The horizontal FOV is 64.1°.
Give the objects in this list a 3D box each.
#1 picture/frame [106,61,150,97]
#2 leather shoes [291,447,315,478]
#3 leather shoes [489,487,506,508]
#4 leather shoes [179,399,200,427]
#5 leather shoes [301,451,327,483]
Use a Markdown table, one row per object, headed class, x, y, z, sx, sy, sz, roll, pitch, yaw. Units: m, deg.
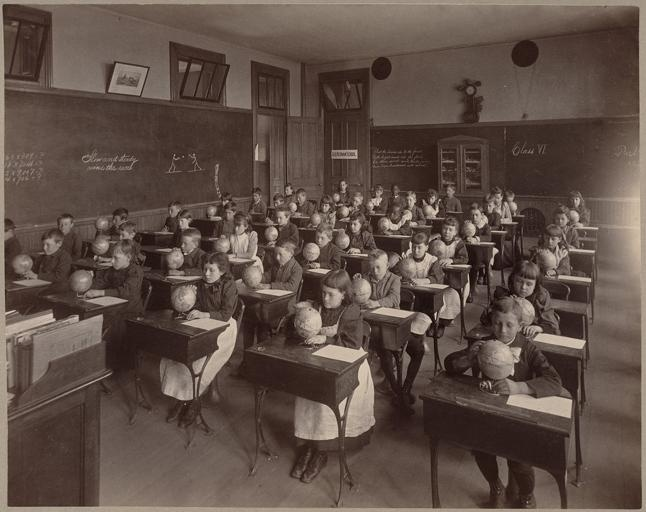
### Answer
| class | x | y | z | sx | sy | sz | roll | pitch | yaw |
| --- | --- | --- | --- | --- | --- | --- | --- | --- | --- |
| picture/frame | -3.438 | -3.086 | 8.976 | 0.083 | 0.564 | 0.813 | 23 | 12 | 17 |
| leather shoes | -0.146 | 1.499 | 3.786 | 0.085 | 0.101 | 0.267 | 13 | 4 | 11 |
| leather shoes | 1.162 | 1.593 | 3.432 | 0.096 | 0.130 | 0.096 | 5 | 10 | 17 |
| leather shoes | -1.108 | 1.306 | 4.278 | 0.137 | 0.268 | 0.108 | 2 | -8 | 9 |
| leather shoes | -0.056 | 1.496 | 3.711 | 0.089 | 0.119 | 0.277 | 16 | 11 | 18 |
